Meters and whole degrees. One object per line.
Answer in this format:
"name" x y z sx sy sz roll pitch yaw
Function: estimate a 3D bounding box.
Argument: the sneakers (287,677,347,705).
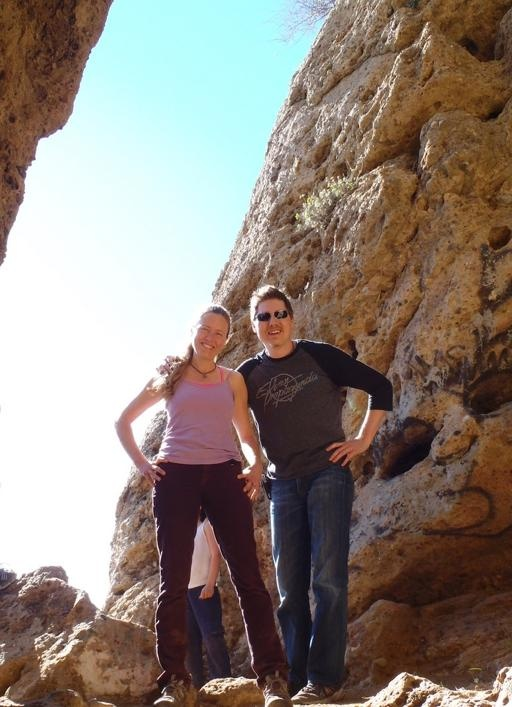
"sneakers" 0.336 1.841 3.737 0.313 0.126 0.104 14 -25 -29
